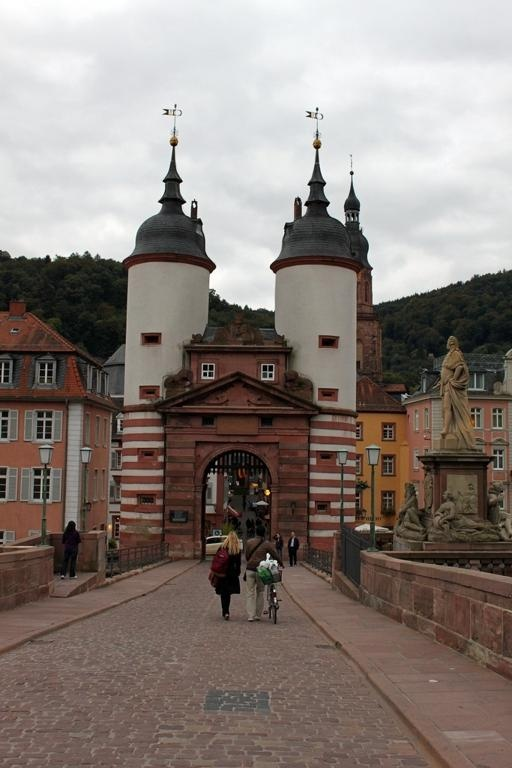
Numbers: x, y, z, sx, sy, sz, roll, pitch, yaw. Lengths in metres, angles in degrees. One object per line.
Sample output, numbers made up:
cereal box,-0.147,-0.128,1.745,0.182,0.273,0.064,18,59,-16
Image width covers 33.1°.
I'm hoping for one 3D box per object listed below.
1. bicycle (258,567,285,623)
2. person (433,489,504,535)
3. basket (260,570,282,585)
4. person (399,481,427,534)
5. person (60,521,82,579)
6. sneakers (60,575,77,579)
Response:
bicycle,0.249,3.248,13.796,0.441,0.566,0.918,-1,-3,0
person,4.778,3.012,19.598,1.557,0.853,0.832,-2,-9,-11
basket,0.221,2.963,13.400,0.275,0.273,0.201,8,-24,11
person,3.628,2.929,20.164,0.660,1.308,1.356,-1,-9,9
person,-3.950,3.473,18.287,0.388,1.155,1.096,2,-9,-13
sneakers,-3.932,4.002,17.961,0.323,0.134,0.113,-5,-19,13
